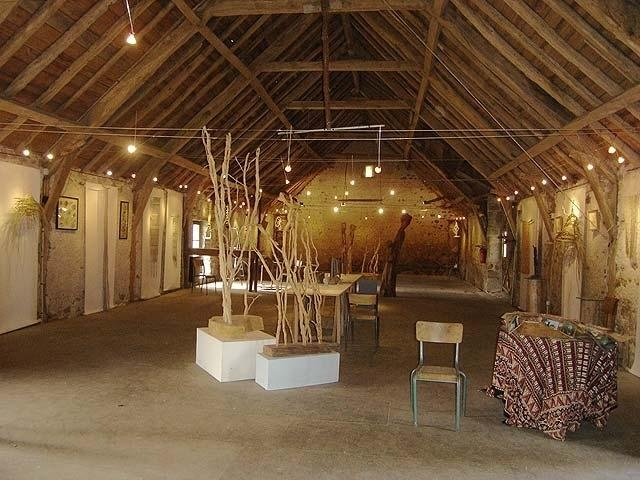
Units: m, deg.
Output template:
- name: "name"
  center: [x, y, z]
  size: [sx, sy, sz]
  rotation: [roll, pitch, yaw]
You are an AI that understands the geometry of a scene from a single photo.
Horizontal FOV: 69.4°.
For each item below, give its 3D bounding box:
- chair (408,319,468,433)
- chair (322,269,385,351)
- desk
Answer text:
- name: "chair"
  center: [1.170, 1.354, 4.703]
  size: [0.567, 0.978, 0.629]
  rotation: [0, -1, 26]
- name: "chair"
  center: [0.552, 1.300, 7.820]
  size: [1.175, 1.335, 0.890]
  rotation: [1, 9, 7]
- name: "desk"
  center: [2.301, 1.287, 4.749]
  size: [0.985, 0.929, 1.073]
  rotation: [5, 3, 0]
